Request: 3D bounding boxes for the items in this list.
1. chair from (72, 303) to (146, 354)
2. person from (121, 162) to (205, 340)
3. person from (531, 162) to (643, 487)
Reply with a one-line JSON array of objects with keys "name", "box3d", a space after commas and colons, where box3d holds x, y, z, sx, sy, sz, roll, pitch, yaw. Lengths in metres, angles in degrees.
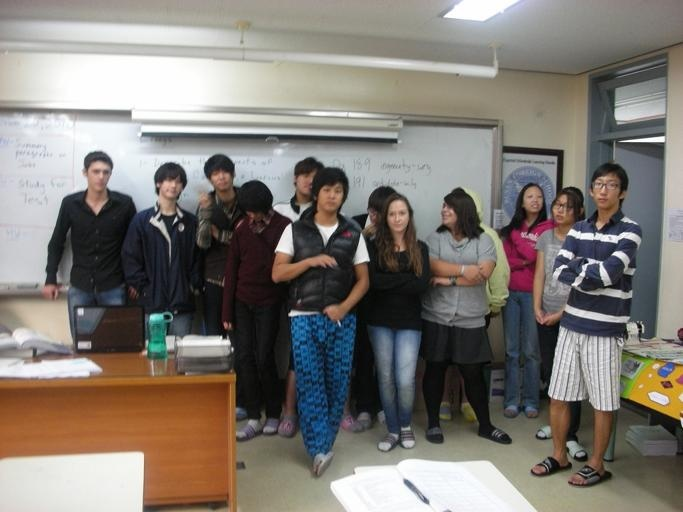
[{"name": "chair", "box3d": [-1.405, 0.434, 3.118, 0.488, 0.333, 0.264, 0, -3, -9]}, {"name": "person", "box3d": [-1.442, -0.052, 4.128, 0.581, 1.377, 0.325, 2, 9, 11]}, {"name": "person", "box3d": [1.596, 0.451, 3.355, 0.531, 2.071, 0.441, 4, 10, 22]}]
